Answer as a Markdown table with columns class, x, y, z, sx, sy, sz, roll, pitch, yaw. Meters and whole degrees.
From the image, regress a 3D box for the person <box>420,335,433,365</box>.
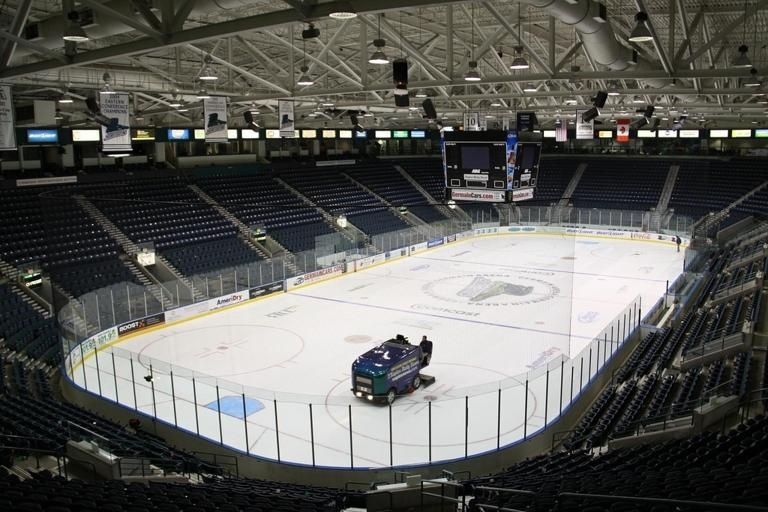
| class | x | y | z | sx | sy | sz | roll | pitch | yaw |
| --- | --- | --- | --- | --- | --- | --- | --- | --- | --- |
| person | 1.695 | 3.934 | 24.457 | 0.449 | 1.235 | 0.887 | 2 | 15 | 3 |
